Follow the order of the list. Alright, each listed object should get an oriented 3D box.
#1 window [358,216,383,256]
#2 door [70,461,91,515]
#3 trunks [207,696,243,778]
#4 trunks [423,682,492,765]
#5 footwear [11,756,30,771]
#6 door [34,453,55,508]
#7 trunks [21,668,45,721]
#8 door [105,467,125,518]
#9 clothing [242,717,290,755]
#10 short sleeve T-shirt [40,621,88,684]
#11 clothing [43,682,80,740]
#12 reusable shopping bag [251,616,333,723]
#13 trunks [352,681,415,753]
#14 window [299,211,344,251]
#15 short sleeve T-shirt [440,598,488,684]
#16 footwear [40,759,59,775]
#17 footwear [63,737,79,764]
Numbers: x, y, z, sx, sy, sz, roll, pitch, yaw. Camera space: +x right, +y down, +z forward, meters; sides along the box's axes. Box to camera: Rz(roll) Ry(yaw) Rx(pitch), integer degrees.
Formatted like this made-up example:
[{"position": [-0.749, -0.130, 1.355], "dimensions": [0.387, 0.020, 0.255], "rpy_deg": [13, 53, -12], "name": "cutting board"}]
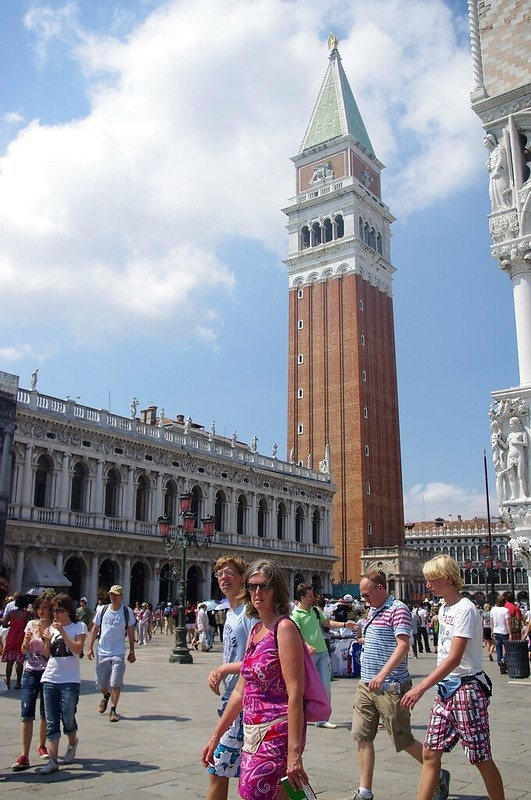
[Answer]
[{"position": [10.086, -16.108, 70.287], "dimensions": [0.373, 2.098, 5.140], "rpy_deg": [-7, -17, 25], "name": "window"}, {"position": [-9.102, 4.299, 35.326], "dimensions": [0.780, 2.358, 0.486], "rpy_deg": [3, -13, -14], "name": "door"}, {"position": [-0.215, 1.890, 3.944], "dimensions": [0.133, 0.413, 0.101], "rpy_deg": [33, -65, -11], "name": "trunks"}, {"position": [1.194, 1.953, 4.457], "dimensions": [0.397, 0.461, 0.247], "rpy_deg": [-2, -4, 30], "name": "trunks"}, {"position": [-2.094, 3.119, 6.153], "dimensions": [0.117, 0.119, 0.219], "rpy_deg": [-2, -13, 6], "name": "footwear"}, {"position": [-10.306, 3.810, 33.479], "dimensions": [0.750, 2.393, 0.482], "rpy_deg": [3, -13, -17], "name": "door"}, {"position": [-2.123, 2.738, 6.687], "dimensions": [0.272, 0.540, 0.195], "rpy_deg": [1, -9, -23], "name": "trunks"}, {"position": [-7.923, 4.851, 37.118], "dimensions": [0.785, 2.395, 0.631], "rpy_deg": [-8, -15, 30], "name": "door"}, {"position": [0.013, 1.539, 3.365], "dimensions": [0.192, 0.140, 0.208], "rpy_deg": [-7, -14, 39], "name": "clothing"}, {"position": [-1.827, 2.306, 6.515], "dimensions": [0.364, 0.505, 0.393], "rpy_deg": [2, -13, -12], "name": "short sleeve T-shirt"}, {"position": [-1.796, 2.740, 6.328], "dimensions": [0.315, 0.497, 0.361], "rpy_deg": [5, -14, -24], "name": "clothing"}, {"position": [0.061, 1.305, 3.482], "dimensions": [0.327, 0.529, 0.375], "rpy_deg": [7, -19, -32], "name": "reusable shopping bag"}, {"position": [0.820, 2.232, 5.178], "dimensions": [0.404, 0.485, 0.247], "rpy_deg": [-3, 0, 20], "name": "trunks"}, {"position": [5.494, -16.311, 69.424], "dimensions": [4.426, 2.470, 0.507], "rpy_deg": [-19, -31, 39], "name": "window"}, {"position": [1.206, 1.489, 4.500], "dimensions": [0.267, 0.476, 0.391], "rpy_deg": [-4, -13, 14], "name": "short sleeve T-shirt"}, {"position": [-1.825, 3.101, 6.055], "dimensions": [0.074, 0.094, 0.221], "rpy_deg": [-7, -18, 11], "name": "footwear"}, {"position": [-1.751, 3.124, 6.483], "dimensions": [0.108, 0.301, 0.121], "rpy_deg": [-4, -26, 10], "name": "footwear"}]
